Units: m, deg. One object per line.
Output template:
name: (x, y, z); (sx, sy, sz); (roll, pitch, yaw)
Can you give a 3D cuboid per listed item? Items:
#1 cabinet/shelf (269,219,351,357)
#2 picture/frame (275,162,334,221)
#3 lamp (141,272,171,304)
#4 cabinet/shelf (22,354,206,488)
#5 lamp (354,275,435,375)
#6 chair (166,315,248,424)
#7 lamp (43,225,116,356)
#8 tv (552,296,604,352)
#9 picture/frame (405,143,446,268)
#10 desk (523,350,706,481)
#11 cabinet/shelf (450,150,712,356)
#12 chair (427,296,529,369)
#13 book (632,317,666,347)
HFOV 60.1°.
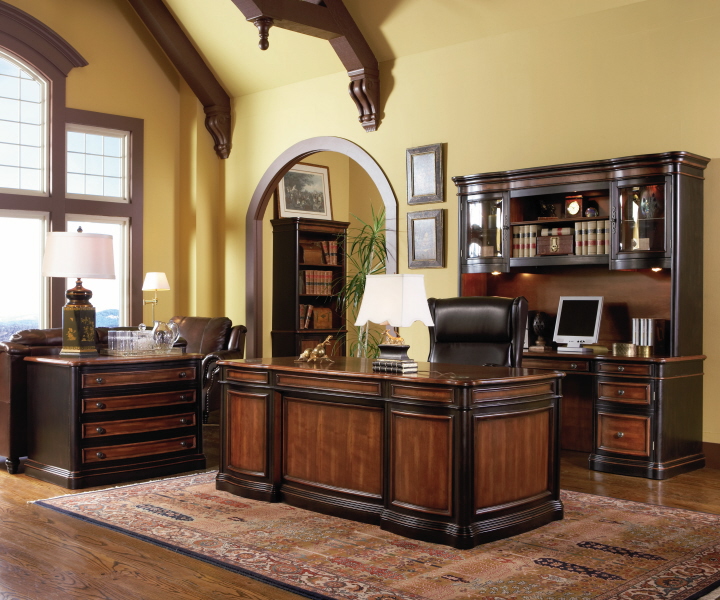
cabinet/shelf: (-0.719, -0.189, 8.859); (1.089, 1.952, 0.616); (1, -4, -8)
picture/frame: (-0.807, -1.584, 9.226); (1.127, 0.894, 0.064); (12, 24, 37)
lamp: (-2.741, -0.159, 8.348); (0.455, 0.459, 0.462); (0, -2, -2)
cabinet/shelf: (-1.887, 0.891, 4.844); (0.690, 0.850, 1.133); (-3, -5, 39)
lamp: (0.196, 0.119, 3.417); (0.380, 0.557, 0.383); (1, -4, -17)
chair: (-1.909, 0.736, 7.017); (1.105, 1.054, 0.962); (0, 3, 2)
lamp: (-2.093, -0.065, 4.605); (0.463, 0.937, 0.583); (3, -5, -30)
tv: (1.922, 0.209, 5.408); (0.193, 0.562, 0.470); (26, -18, -37)
picture/frame: (0.726, -1.010, 6.711); (0.500, 1.317, 0.157); (-4, -6, 43)
desk: (1.951, 0.945, 5.585); (0.812, 0.887, 1.932); (4, -5, -33)
cabinet/shelf: (1.934, -0.388, 5.226); (0.660, 1.723, 1.965); (4, -4, -44)
chair: (0.919, 0.233, 4.508); (0.514, 0.649, 0.585); (-1, -5, 36)
book: (2.379, 0.255, 5.032); (0.178, 0.247, 0.275); (1, -1, -31)
